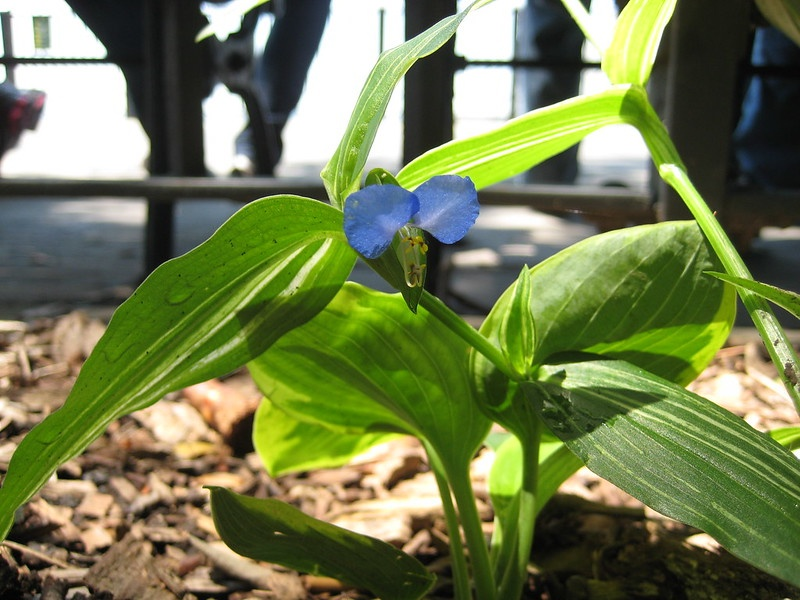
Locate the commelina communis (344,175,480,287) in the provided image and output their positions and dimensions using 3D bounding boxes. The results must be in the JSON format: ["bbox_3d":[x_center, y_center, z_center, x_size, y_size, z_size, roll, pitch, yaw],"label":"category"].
[{"bbox_3d":[0.005,-0.108,0.911,0.146,0.052,0.131,-28,-24,12],"label":"commelina communis"}]
